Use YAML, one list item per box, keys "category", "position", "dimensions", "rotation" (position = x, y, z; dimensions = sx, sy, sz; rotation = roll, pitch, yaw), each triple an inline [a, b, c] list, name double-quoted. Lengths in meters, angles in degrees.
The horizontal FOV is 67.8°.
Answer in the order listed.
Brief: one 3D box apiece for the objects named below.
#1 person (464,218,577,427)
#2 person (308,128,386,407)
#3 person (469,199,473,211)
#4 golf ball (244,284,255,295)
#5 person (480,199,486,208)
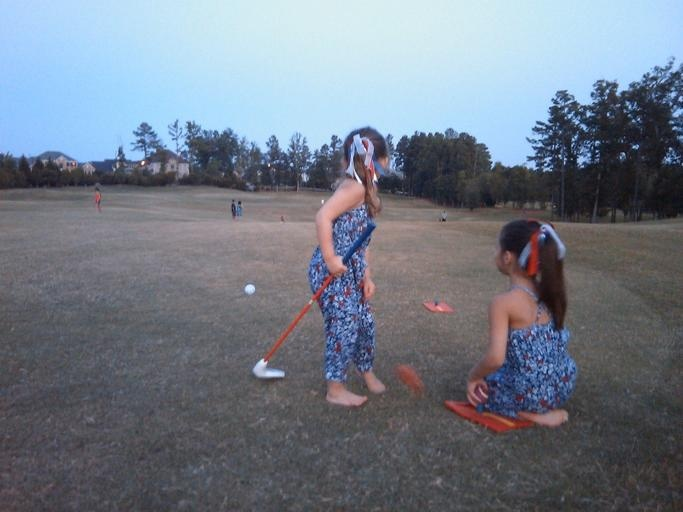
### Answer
- category: "person"
  position: [1.366, 0.484, 3.778]
  dimensions: [0.745, 1.495, 0.421]
  rotation: [-2, 11, -16]
- category: "person"
  position: [0.070, 0.074, 4.016]
  dimensions: [0.627, 2.119, 0.480]
  rotation: [0, 10, -8]
- category: "person"
  position: [12.750, -4.956, 50.112]
  dimensions: [0.563, 1.066, 0.690]
  rotation: [-2, 7, 6]
- category: "golf ball"
  position: [-1.202, 0.412, 6.649]
  dimensions: [0.126, 0.167, 0.076]
  rotation: [10, -12, 5]
- category: "person"
  position: [15.610, -5.776, 56.178]
  dimensions: [0.564, 0.972, 3.028]
  rotation: [4, 13, 15]
